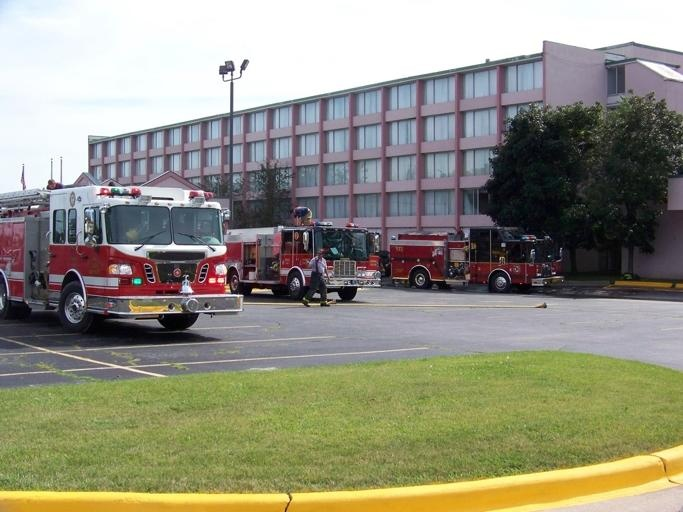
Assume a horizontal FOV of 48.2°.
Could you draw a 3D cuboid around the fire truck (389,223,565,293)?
[{"bbox_3d":[6.700,0.194,38.462,8.093,3.642,1.969,8,6,31],"label":"fire truck"}]
